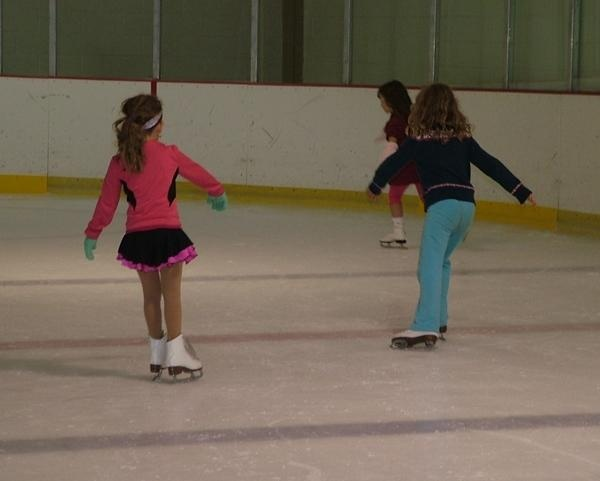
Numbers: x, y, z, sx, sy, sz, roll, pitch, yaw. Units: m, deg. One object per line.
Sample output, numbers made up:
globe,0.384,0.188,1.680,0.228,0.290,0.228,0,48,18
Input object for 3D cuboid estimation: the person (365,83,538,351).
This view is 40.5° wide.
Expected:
person,0.865,-0.163,4.953,0.819,1.554,0.455,-3,10,-18

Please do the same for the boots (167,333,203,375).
boots,-0.590,0.607,4.266,0.090,0.209,0.247,-10,-13,37

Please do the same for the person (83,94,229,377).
person,-0.748,-0.009,4.222,0.714,1.471,0.388,-1,10,-7

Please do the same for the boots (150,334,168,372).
boots,-0.751,0.594,4.335,0.084,0.188,0.187,1,2,-1
